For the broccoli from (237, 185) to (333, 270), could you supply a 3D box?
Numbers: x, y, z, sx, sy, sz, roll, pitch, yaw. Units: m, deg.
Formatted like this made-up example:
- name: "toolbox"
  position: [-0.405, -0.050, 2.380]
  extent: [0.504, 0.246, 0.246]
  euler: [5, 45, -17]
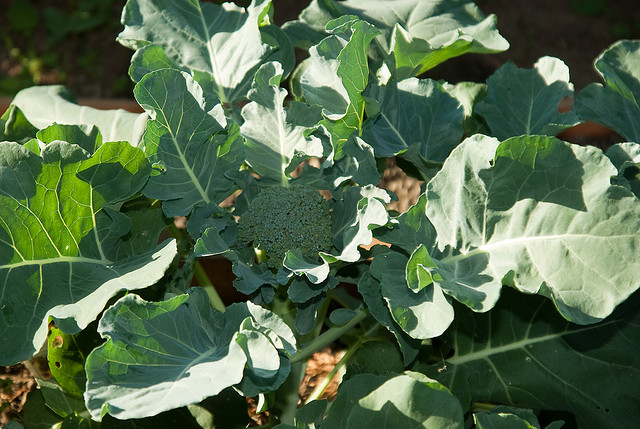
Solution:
- name: "broccoli"
  position: [-0.069, 0.014, 1.386]
  extent: [0.152, 0.055, 0.175]
  euler: [-12, 80, -3]
